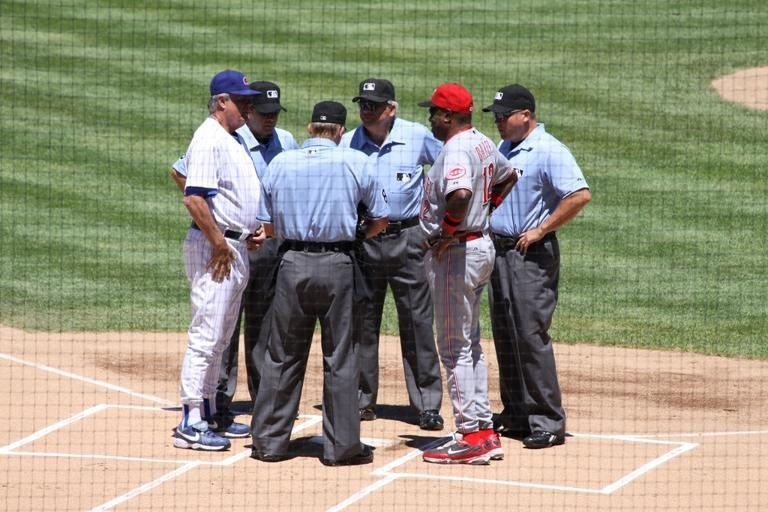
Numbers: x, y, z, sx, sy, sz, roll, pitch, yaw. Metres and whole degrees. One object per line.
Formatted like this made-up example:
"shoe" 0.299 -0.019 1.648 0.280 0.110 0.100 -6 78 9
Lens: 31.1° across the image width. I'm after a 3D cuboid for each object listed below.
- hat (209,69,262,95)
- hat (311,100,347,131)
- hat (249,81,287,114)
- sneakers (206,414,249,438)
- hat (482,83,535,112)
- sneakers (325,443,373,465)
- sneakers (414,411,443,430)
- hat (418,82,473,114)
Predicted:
"hat" -1.950 -2.222 17.550 0.508 0.242 0.308 -1 21 -1
"hat" -0.650 -1.802 17.496 0.299 0.220 0.395 5 8 17
"hat" -1.576 -2.085 18.122 0.353 0.272 0.494 -8 19 -31
"sneakers" -2.027 2.210 17.944 0.677 0.280 0.218 4 5 9
"hat" 1.605 -2.037 17.755 0.541 0.270 0.356 1 10 -3
"sneakers" -0.451 2.491 17.426 0.590 0.233 0.246 -6 7 -28
"sneakers" 0.580 2.159 18.142 0.256 0.225 0.531 0 1 1
"hat" 0.772 -1.994 17.415 0.615 0.310 0.394 5 14 11
